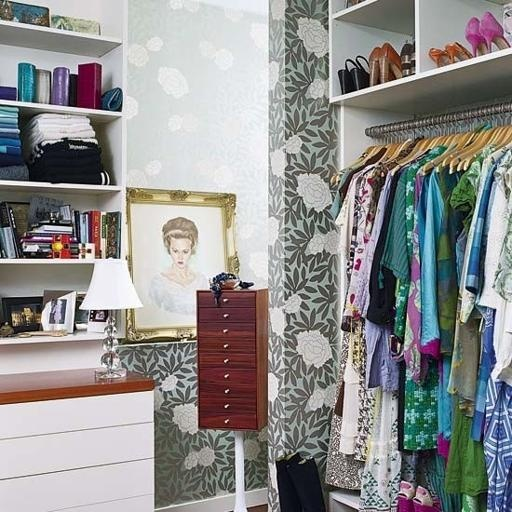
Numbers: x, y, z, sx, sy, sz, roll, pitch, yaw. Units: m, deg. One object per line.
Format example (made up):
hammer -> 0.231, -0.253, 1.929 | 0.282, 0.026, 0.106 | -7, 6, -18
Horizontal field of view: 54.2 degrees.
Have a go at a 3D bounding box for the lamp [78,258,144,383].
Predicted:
lamp -> -0.689, 0.295, 2.357 | 0.257, 0.564, 0.399 | 0, 1, -22

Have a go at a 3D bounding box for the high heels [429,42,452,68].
high heels -> 0.683, -0.737, 1.847 | 0.053, 0.103, 0.049 | -9, 33, 10

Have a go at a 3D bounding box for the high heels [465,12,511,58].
high heels -> 0.786, -0.750, 1.716 | 0.081, 0.108, 0.248 | -3, 10, 21

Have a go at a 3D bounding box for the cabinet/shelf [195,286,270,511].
cabinet/shelf -> -0.117, 0.723, 2.439 | 0.348, 1.135, 0.253 | 0, 1, -1

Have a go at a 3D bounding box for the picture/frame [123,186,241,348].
picture/frame -> -0.467, 0.075, 2.927 | 0.942, 1.050, 0.090 | 0, -1, -36
